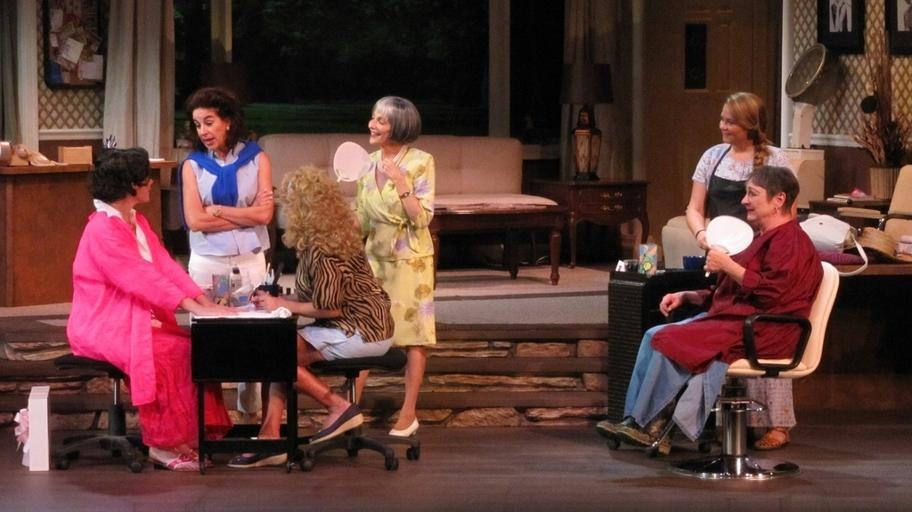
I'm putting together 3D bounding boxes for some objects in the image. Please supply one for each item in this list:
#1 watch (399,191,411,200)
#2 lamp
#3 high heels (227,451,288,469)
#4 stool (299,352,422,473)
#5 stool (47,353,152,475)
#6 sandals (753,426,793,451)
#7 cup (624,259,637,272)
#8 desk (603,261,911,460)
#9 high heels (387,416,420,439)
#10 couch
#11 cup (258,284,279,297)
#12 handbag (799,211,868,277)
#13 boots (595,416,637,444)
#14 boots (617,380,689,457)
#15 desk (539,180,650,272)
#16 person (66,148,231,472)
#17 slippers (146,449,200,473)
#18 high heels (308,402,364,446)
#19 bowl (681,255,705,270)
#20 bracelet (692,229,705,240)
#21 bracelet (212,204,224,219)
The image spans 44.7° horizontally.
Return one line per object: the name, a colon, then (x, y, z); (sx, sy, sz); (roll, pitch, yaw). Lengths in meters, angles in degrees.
watch: (-0.342, -0.416, 7.693); (0.074, 0.056, 0.032); (-2, 8, -5)
lamp: (1.366, -1.425, 11.456); (0.520, 1.233, 0.887); (-1, 8, 8)
high heels: (-1.326, 1.393, 7.588); (0.468, 0.135, 0.145); (2, -2, -10)
stool: (-0.738, 1.041, 7.825); (1.036, 0.793, 1.024); (1, -6, -10)
stool: (-2.337, 1.058, 7.752); (0.971, 0.664, 0.769); (3, 5, -2)
sandals: (2.249, 1.307, 7.892); (0.288, 0.100, 0.133); (2, -4, -40)
cup: (1.281, 0.078, 8.101); (0.095, 0.056, 0.084); (0, 0, 4)
desk: (1.713, 0.762, 8.110); (1.792, 0.880, 1.596); (0, 0, -1)
high heels: (-0.345, 1.239, 7.840); (0.240, 0.093, 0.108); (0, -1, -19)
couch: (-0.455, -0.474, 10.822); (2.904, 1.279, 1.159); (-1, 15, -24)
cup: (-1.252, 0.233, 7.535); (0.104, 0.063, 0.100); (1, 6, 0)
handbag: (2.668, -0.148, 7.938); (0.427, 0.514, 0.192); (-23, -35, -4)
boots: (1.111, 1.198, 7.592); (0.262, 0.087, 0.169); (12, -10, -18)
boots: (1.329, 1.159, 7.636); (0.414, 0.336, 0.187); (19, -4, -27)
desk: (1.401, -0.309, 11.421); (1.167, 0.851, 0.932); (-2, 4, -18)
person: (-2.091, 0.366, 7.530); (1.035, 2.174, 0.522); (-3, 8, -8)
slippers: (-1.894, 1.397, 7.520); (0.278, 0.078, 0.164); (1, 0, 13)
high heels: (-0.781, 1.169, 7.676); (0.529, 0.178, 0.165); (-21, 4, 3)
bowl: (1.737, 0.057, 8.137); (0.205, 0.099, 0.098); (-1, 3, -4)
bracelet: (1.719, -0.147, 7.867); (0.081, 0.048, 0.073); (2, 6, 7)
bracelet: (-1.621, -0.300, 7.620); (0.062, 0.070, 0.037); (2, 0, -1)
